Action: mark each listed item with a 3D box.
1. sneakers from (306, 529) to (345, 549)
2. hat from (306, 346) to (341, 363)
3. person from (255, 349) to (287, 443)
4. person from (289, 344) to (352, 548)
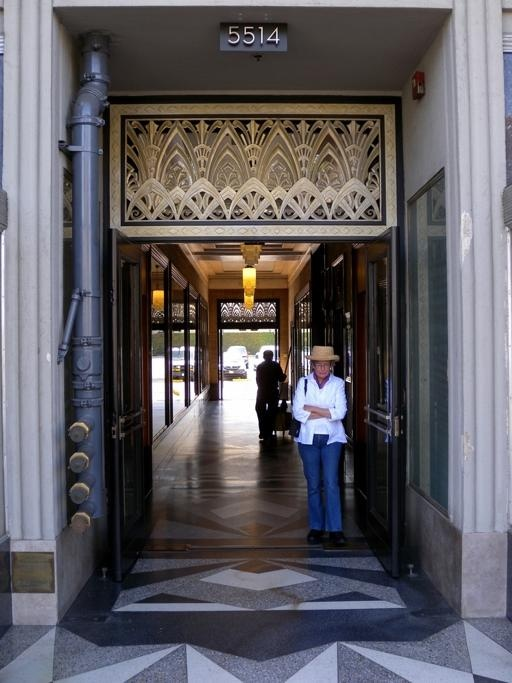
[{"bbox_3d":[0.521,1.415,4.331,0.323,0.184,0.110,-15,-15,36],"label":"sneakers"},{"bbox_3d":[0.594,0.106,5.166,0.197,0.128,0.279,1,-12,1],"label":"hat"},{"bbox_3d":[0.183,0.849,9.725,0.432,1.270,0.639,-1,0,31],"label":"person"},{"bbox_3d":[0.457,0.740,4.326,0.372,1.293,0.313,-1,0,14],"label":"person"}]
